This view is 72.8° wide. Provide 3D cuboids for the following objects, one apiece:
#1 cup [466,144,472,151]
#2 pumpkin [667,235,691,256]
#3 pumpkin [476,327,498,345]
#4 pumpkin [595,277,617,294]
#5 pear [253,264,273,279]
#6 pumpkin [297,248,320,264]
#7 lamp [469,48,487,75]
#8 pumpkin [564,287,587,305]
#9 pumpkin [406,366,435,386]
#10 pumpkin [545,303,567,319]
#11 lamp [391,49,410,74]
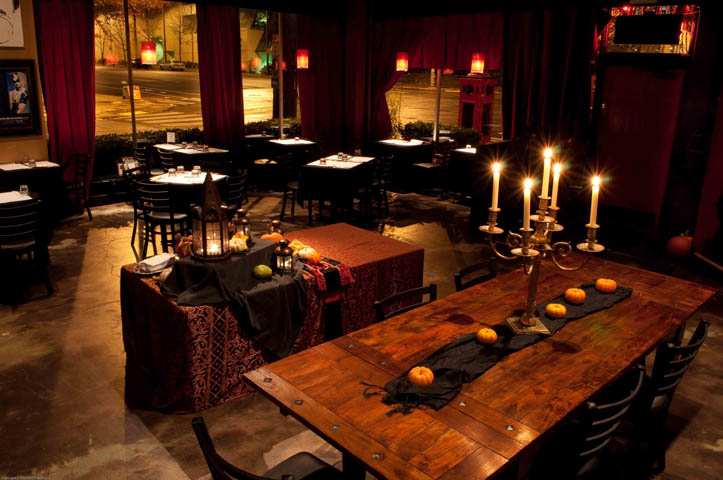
[{"bbox_3d":[1.951,-1.700,9.011,0.134,0.115,0.131,1,16,0],"label":"cup"},{"bbox_3d":[4.642,0.103,7.175,0.329,0.300,0.320,-3,-3,33],"label":"pumpkin"},{"bbox_3d":[0.876,0.680,3.410,0.120,0.080,0.113,1,9,-12],"label":"pumpkin"},{"bbox_3d":[2.024,0.379,4.083,0.139,0.092,0.131,1,12,5],"label":"pumpkin"},{"bbox_3d":[-0.853,0.294,4.316,0.148,0.108,0.103,7,40,2],"label":"pear"},{"bbox_3d":[-0.480,0.154,4.645,0.153,0.049,0.158,12,15,32],"label":"pumpkin"},{"bbox_3d":[2.308,-3.537,9.718,0.281,0.367,0.310,2,16,11],"label":"lamp"},{"bbox_3d":[1.702,0.462,3.918,0.134,0.089,0.132,-16,19,-38],"label":"pumpkin"},{"bbox_3d":[0.371,0.858,3.058,0.169,0.083,0.128,-1,15,0],"label":"pumpkin"},{"bbox_3d":[1.471,0.551,3.741,0.125,0.080,0.118,-5,10,-11],"label":"pumpkin"},{"bbox_3d":[0.846,-3.735,10.271,0.382,0.624,0.374,1,13,-7],"label":"lamp"}]
